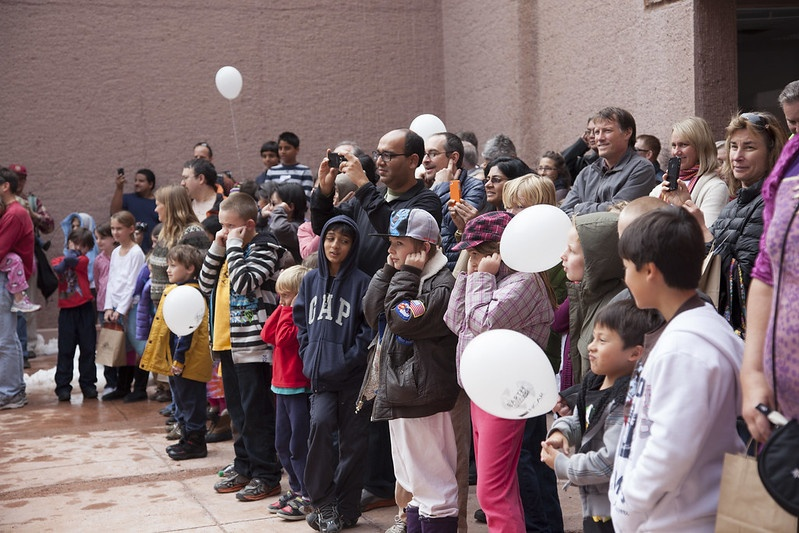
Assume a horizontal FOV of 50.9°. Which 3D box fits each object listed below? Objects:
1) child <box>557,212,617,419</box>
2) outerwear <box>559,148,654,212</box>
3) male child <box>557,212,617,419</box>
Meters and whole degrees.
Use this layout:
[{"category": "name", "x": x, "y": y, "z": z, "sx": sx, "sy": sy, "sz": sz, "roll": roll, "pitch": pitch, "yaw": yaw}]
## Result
[{"category": "child", "x": 1.361, "y": 0.316, "z": 5.627, "sx": 0.454, "sy": 1.297, "sz": 0.524, "roll": -5, "pitch": 14, "yaw": -8}, {"category": "outerwear", "x": 1.724, "y": -0.727, "z": 7.124, "sx": 0.479, "sy": 0.513, "sz": 0.752, "roll": -8, "pitch": 12, "yaw": -33}, {"category": "male child", "x": 1.202, "y": 0.308, "z": 5.334, "sx": 0.428, "sy": 1.453, "sz": 1.201, "roll": 3, "pitch": 5, "yaw": 11}]
